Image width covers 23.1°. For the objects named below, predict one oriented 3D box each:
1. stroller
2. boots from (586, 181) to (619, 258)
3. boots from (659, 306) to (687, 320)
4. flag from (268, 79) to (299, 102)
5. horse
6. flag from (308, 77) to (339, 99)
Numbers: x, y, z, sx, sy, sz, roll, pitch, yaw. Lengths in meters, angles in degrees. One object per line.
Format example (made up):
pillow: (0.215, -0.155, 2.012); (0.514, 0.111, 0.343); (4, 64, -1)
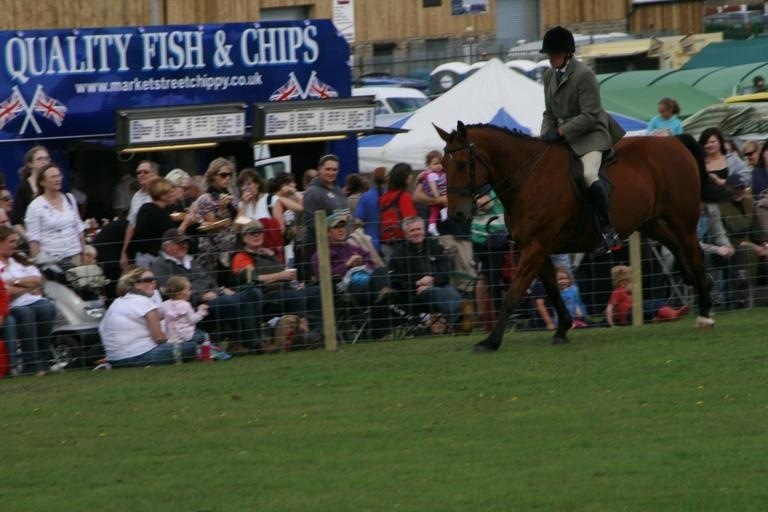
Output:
stroller: (-5.101, 0.951, 30.657); (1.137, 1.636, 0.870); (8, -2, -13)
boots: (3.458, -0.640, 29.897); (0.357, 1.148, 0.458); (-6, 0, 19)
boots: (4.816, 0.961, 31.799); (0.362, 0.134, 0.312); (-4, 10, 4)
flag: (-1.900, -3.059, 34.804); (0.625, 0.368, 0.055); (-4, 21, -8)
horse: (3.107, -0.718, 30.044); (7.629, 3.928, 3.245); (-2, 1, -11)
flag: (-1.177, -3.108, 34.985); (0.620, 0.328, 0.057); (0, 0, -19)
